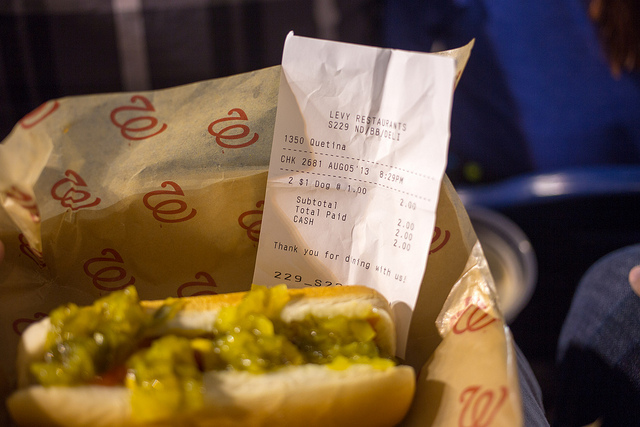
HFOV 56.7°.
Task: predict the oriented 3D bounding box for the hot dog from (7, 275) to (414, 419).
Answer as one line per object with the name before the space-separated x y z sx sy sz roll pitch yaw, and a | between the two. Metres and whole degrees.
hot dog | -0.162 0.258 1.001 0.562 0.197 0.276 0 59 1
